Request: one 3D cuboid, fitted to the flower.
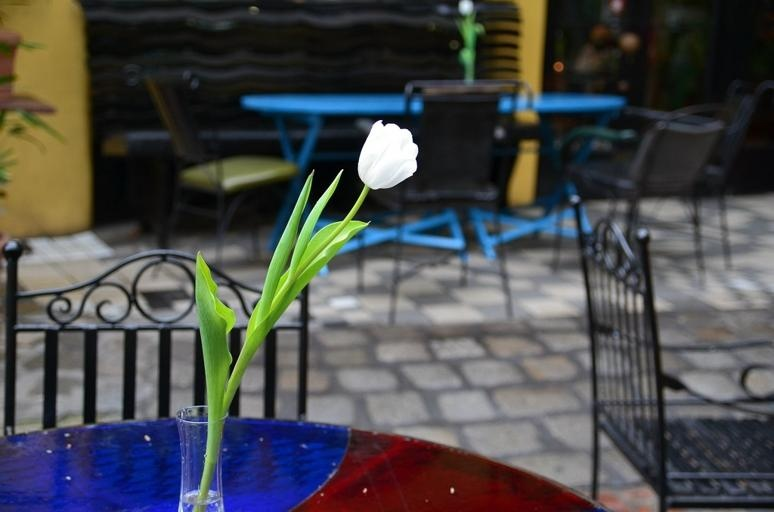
[{"bbox_3d":[-0.248,0.103,1.925,0.719,0.814,0.250,-24,41,-34],"label":"flower"}]
